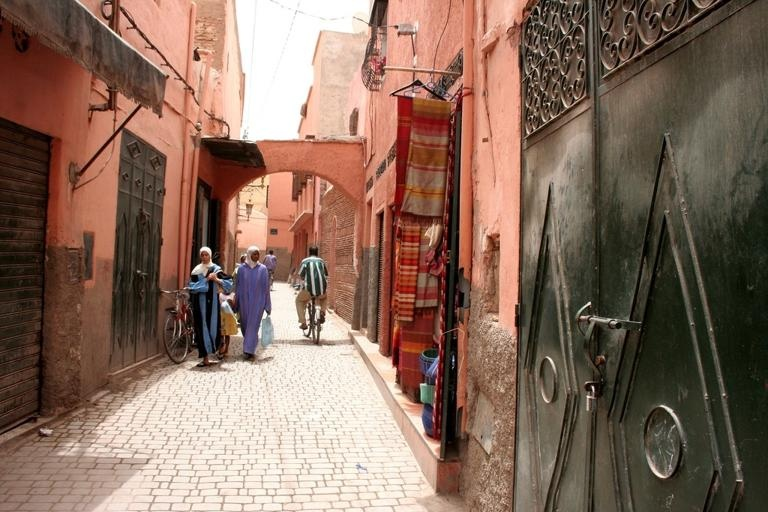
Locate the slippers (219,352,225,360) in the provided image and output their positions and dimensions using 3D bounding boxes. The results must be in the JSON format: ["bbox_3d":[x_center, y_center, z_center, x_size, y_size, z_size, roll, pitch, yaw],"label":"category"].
[{"bbox_3d":[-2.621,1.594,9.710,0.091,0.096,0.071,-3,-4,36],"label":"slippers"}]

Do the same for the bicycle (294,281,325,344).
[{"bbox_3d":[-1.464,1.260,12.024,0.482,0.707,1.067,3,-6,-13],"label":"bicycle"}]

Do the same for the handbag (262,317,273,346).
[{"bbox_3d":[-1.988,1.265,10.181,0.122,0.464,0.456,-2,-7,7],"label":"handbag"}]

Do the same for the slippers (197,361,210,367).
[{"bbox_3d":[-2.725,1.611,9.109,0.205,0.095,0.079,0,3,9],"label":"slippers"}]

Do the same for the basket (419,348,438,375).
[{"bbox_3d":[0.449,1.064,6.141,0.199,0.176,0.218,1,-4,-8],"label":"basket"}]

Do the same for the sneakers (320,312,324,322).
[{"bbox_3d":[-1.216,1.181,11.710,0.054,0.200,0.251,3,4,4],"label":"sneakers"}]

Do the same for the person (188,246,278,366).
[{"bbox_3d":[-2.460,0.777,9.568,0.637,1.819,1.461,5,4,26],"label":"person"}]

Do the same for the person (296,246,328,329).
[{"bbox_3d":[-1.454,0.664,12.014,0.602,1.738,0.989,2,4,-7],"label":"person"}]

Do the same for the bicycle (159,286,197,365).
[{"bbox_3d":[-3.257,1.159,9.637,0.521,0.763,1.146,-3,-5,-3],"label":"bicycle"}]
